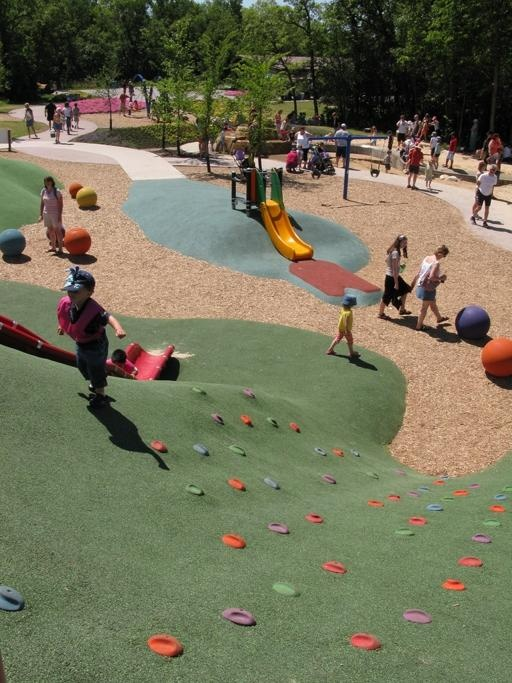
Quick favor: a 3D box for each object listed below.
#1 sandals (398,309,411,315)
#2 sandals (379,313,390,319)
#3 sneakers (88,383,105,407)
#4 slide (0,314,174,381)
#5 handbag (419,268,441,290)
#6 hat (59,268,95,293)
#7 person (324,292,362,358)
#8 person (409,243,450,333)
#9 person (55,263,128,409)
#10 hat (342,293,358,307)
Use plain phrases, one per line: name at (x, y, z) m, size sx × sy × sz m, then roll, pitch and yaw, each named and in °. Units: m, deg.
sandals at (2.733, -0.533, 11.275) m, size 0.263 × 0.101 × 0.079 m, roll 0°, pitch 32°, yaw -6°
sandals at (2.383, -0.461, 11.254) m, size 0.228 × 0.093 × 0.093 m, roll 3°, pitch 33°, yaw 9°
sneakers at (-1.355, 0.454, 5.193) m, size 0.134 × 0.144 × 0.235 m, roll 0°, pitch 15°, yaw -5°
slide at (-1.853, 0.090, 6.621) m, size 0.390 × 0.562 × 1.424 m, roll 25°, pitch -4°, yaw 43°
handbag at (2.861, -1.030, 10.062) m, size 0.338 × 0.340 × 0.206 m, roll 11°, pitch 26°, yaw -43°
hat at (-1.376, -0.470, 4.695) m, size 0.217 × 0.196 × 0.358 m, roll -1°, pitch 14°, yaw -17°
person at (1.411, -0.331, 9.624) m, size 0.494 × 1.006 × 1.857 m, roll 5°, pitch 13°, yaw 7°
person at (3.038, -0.906, 10.526) m, size 0.636 × 1.502 × 1.162 m, roll 8°, pitch 15°, yaw 16°
person at (-1.338, -0.017, 4.958) m, size 0.519 × 1.193 × 0.586 m, roll -1°, pitch 15°, yaw -15°
hat at (1.340, -0.561, 8.777) m, size 0.238 × 0.118 × 0.260 m, roll -1°, pitch 19°, yaw -8°
